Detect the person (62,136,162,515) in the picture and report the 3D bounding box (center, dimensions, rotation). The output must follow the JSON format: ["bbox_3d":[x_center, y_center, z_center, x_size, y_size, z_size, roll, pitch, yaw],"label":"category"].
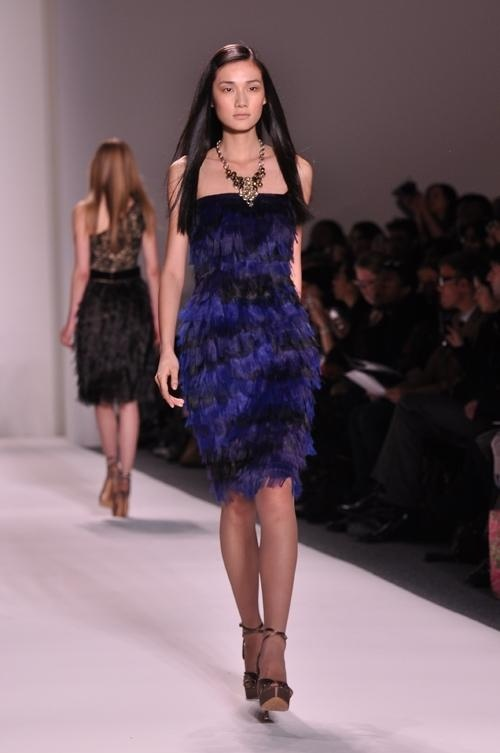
[{"bbox_3d":[-0.644,-0.255,3.405,0.432,1.789,0.351,1,-4,-9],"label":"person"}]

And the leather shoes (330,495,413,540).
[{"bbox_3d":[0.406,0.506,2.641,0.143,0.151,0.334,4,-5,-37],"label":"leather shoes"}]

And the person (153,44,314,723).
[{"bbox_3d":[-0.025,-0.012,1.293,0.307,1.148,0.264,-2,-5,27],"label":"person"}]

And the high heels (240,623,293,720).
[{"bbox_3d":[0.015,0.491,1.193,0.061,0.078,0.190,0,-14,-5],"label":"high heels"}]
